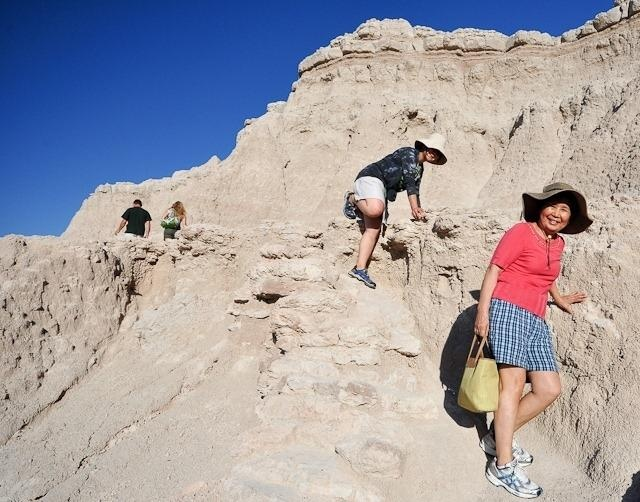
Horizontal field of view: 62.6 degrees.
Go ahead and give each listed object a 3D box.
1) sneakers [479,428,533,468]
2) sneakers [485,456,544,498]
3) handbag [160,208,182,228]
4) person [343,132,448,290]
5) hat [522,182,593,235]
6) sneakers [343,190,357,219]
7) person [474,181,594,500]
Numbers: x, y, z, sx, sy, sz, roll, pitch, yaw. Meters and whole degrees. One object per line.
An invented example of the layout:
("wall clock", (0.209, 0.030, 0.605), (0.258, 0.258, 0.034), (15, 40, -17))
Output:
("sneakers", (1.601, 1.681, 4.544), (0.468, 0.247, 0.194), (22, 21, 22))
("sneakers", (1.546, 1.839, 4.232), (0.441, 0.259, 0.194), (11, 7, 34))
("handbag", (-2.328, -0.478, 8.245), (0.156, 0.256, 0.289), (23, -13, -41))
("person", (0.862, -0.481, 6.276), (1.148, 1.903, 0.717), (4, -3, 5))
("hat", (2.059, -0.367, 4.480), (0.503, 0.190, 0.472), (29, -43, -11))
("sneakers", (0.380, -0.542, 6.602), (0.117, 0.412, 0.160), (-5, 10, 1))
("person", (1.722, 0.695, 4.370), (0.881, 2.564, 0.300), (5, -3, -3))
